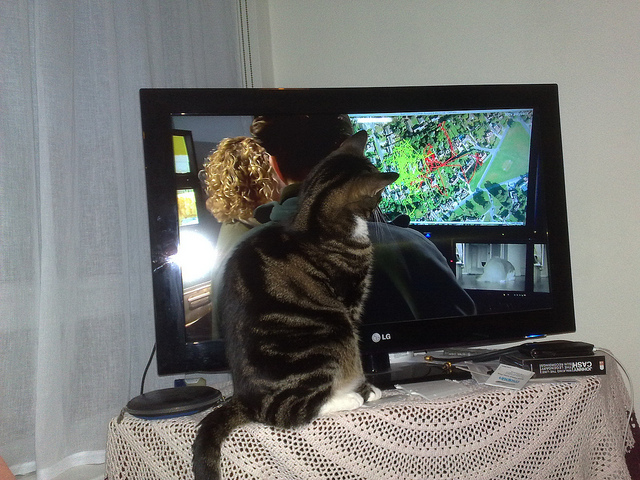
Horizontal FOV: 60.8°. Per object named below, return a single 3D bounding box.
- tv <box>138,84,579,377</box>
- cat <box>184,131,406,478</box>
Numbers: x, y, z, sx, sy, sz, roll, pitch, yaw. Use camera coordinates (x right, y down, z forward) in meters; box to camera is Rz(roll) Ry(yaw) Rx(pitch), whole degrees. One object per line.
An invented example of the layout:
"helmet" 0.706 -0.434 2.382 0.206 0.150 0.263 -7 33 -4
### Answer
"tv" 0.101 -0.029 1.573 0.768 0.587 0.206 -4 -5 -8
"cat" -0.026 0.127 1.455 0.626 0.872 0.295 -2 3 -12
